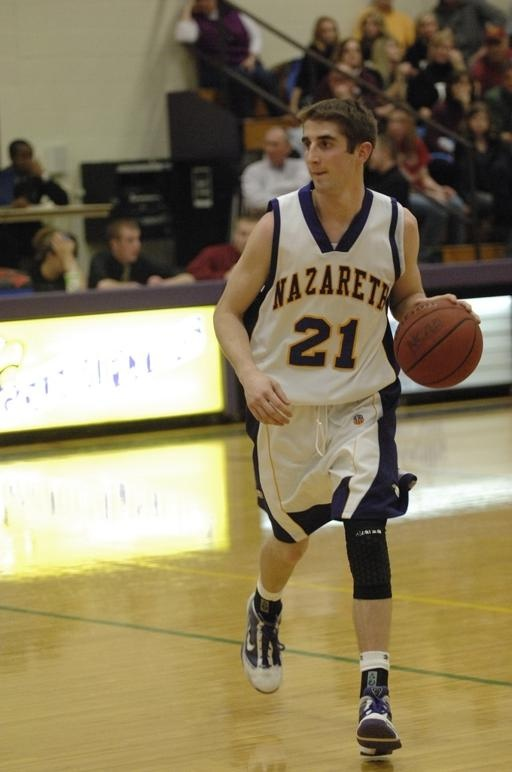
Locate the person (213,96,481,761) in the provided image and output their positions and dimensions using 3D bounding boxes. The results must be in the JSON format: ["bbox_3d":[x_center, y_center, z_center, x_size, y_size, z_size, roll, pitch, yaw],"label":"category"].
[{"bbox_3d":[0.169,0.119,1.954,0.559,1.481,0.858,2,24,-2],"label":"person"}]

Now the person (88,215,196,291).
[{"bbox_3d":[-1.086,-1.065,7.308,0.821,0.711,0.588,14,11,22],"label":"person"}]

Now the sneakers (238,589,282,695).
[{"bbox_3d":[-0.005,0.714,2.296,0.098,0.104,0.252,3,56,-12],"label":"sneakers"}]

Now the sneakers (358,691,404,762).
[{"bbox_3d":[0.247,0.680,1.648,0.066,0.075,0.169,0,-1,7],"label":"sneakers"}]
